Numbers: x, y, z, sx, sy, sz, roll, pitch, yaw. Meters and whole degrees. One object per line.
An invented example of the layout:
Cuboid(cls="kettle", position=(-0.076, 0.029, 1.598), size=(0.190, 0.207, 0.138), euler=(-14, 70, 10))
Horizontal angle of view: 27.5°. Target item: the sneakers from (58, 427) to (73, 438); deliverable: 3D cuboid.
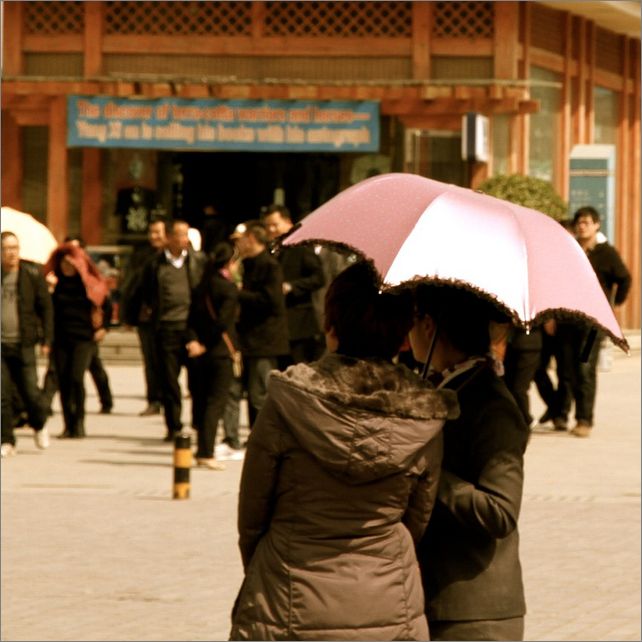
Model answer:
Cuboid(cls="sneakers", position=(-2.260, 0.985, 11.465), size=(0.106, 0.086, 0.273), euler=(0, 3, -24))

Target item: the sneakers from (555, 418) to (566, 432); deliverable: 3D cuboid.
Cuboid(cls="sneakers", position=(2.186, 0.958, 11.989), size=(0.079, 0.122, 0.052), euler=(4, 6, 5))

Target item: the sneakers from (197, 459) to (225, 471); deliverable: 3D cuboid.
Cuboid(cls="sneakers", position=(-0.833, 1.053, 9.649), size=(0.235, 0.106, 0.084), euler=(2, 3, 24))

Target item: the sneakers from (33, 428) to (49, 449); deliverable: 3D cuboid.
Cuboid(cls="sneakers", position=(-2.293, 0.967, 10.691), size=(0.084, 0.156, 0.150), euler=(2, 26, -4))
